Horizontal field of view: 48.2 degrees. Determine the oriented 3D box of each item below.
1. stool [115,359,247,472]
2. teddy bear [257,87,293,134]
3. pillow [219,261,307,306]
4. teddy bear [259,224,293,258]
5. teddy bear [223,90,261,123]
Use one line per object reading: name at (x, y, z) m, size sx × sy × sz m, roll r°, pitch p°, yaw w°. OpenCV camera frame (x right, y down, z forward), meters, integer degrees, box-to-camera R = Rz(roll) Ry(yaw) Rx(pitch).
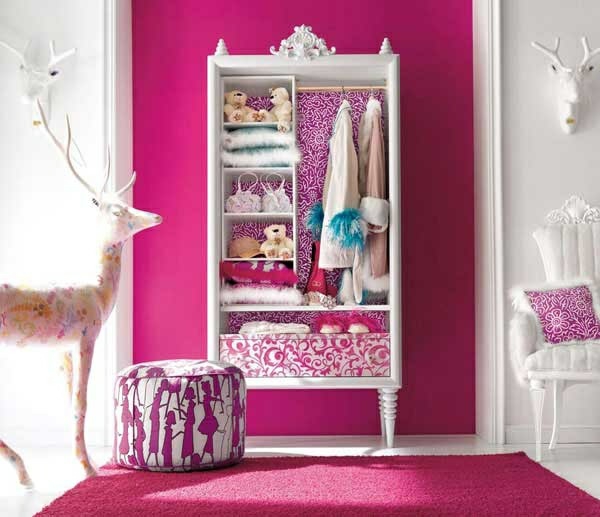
stool at (-0.631, 0.815, 3.683) m, size 0.577 × 0.424 × 0.573 m, roll 0°, pitch -6°, yaw -4°
teddy bear at (-0.139, -0.952, 4.195) m, size 0.202 × 0.226 × 0.226 m, roll -25°, pitch 31°, yaw -30°
pillow at (-0.228, 0.146, 4.112) m, size 0.515 × 0.262 × 0.107 m, roll 0°, pitch 0°, yaw 0°
teddy bear at (-0.140, -0.111, 4.187) m, size 0.208 × 0.214 × 0.148 m, roll -5°, pitch 7°, yaw -6°
teddy bear at (-0.383, -0.925, 4.251) m, size 0.241 × 0.240 × 0.207 m, roll -1°, pitch 1°, yaw -39°
